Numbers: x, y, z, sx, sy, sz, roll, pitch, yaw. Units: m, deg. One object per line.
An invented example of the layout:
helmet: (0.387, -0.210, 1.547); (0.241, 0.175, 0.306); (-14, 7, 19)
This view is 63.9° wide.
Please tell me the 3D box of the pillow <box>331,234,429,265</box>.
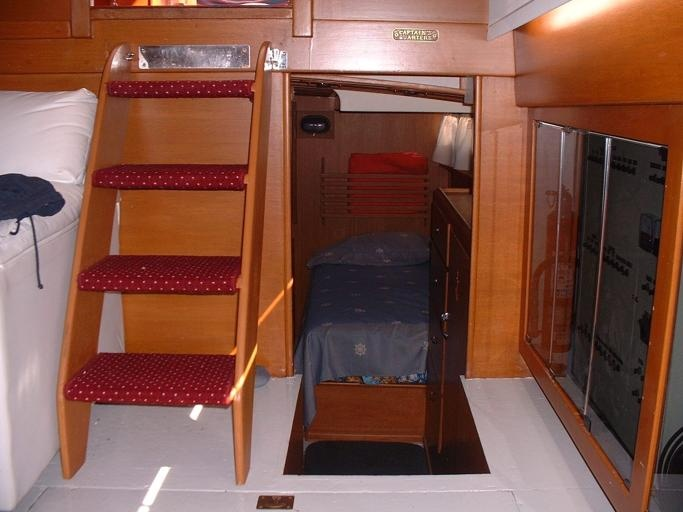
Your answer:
pillow: (0.299, -0.061, 4.486); (0.814, 0.214, 0.508); (4, 12, 7)

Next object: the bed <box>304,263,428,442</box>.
bed: (0.169, 0.431, 3.855); (0.996, 0.400, 1.601); (4, 18, 10)
